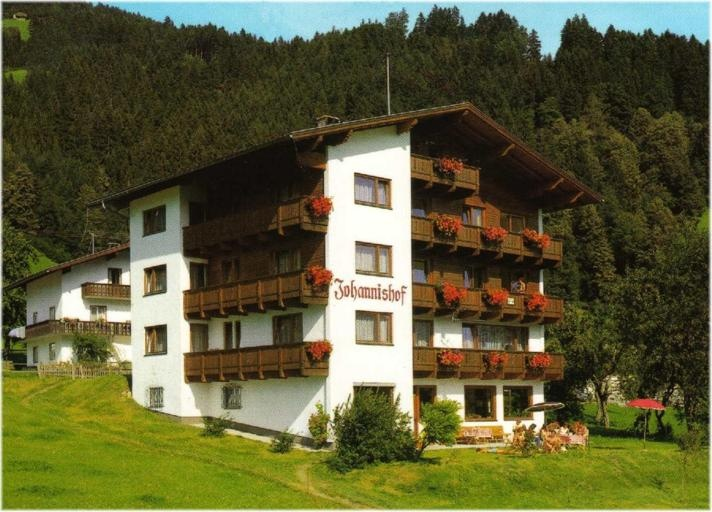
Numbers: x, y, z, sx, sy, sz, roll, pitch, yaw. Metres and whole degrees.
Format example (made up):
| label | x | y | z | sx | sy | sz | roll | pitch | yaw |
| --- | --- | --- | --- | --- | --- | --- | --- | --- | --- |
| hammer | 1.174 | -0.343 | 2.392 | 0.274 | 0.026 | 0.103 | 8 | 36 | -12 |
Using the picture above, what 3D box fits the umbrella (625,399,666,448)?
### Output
| label | x | y | z | sx | sy | sz | roll | pitch | yaw |
| --- | --- | --- | --- | --- | --- | --- | --- | --- | --- |
| umbrella | 24.168 | 13.906 | 93.919 | 3.091 | 3.842 | 3.446 | 6 | 1 | 15 |
